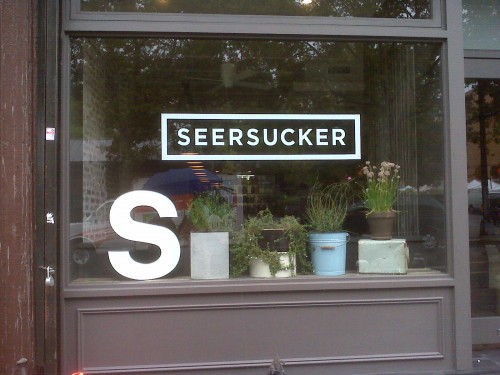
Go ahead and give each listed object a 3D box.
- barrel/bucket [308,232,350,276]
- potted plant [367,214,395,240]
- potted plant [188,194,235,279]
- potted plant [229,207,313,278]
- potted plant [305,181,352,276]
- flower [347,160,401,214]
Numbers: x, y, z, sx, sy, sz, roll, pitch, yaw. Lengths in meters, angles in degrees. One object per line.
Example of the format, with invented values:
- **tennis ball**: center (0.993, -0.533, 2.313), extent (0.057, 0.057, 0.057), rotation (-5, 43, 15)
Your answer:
- **barrel/bucket**: center (0.772, 0.644, 8.642), extent (0.423, 0.410, 0.422), rotation (-2, -3, 0)
- **potted plant**: center (1.302, 0.381, 8.673), extent (0.310, 0.292, 0.330), rotation (1, 1, 37)
- **potted plant**: center (-0.374, 0.362, 8.603), extent (0.483, 0.848, 0.471), rotation (-6, 29, -13)
- **potted plant**: center (0.270, 0.513, 8.646), extent (0.821, 0.706, 0.615), rotation (2, 7, 14)
- **potted plant**: center (0.762, 0.434, 8.618), extent (0.419, 0.846, 0.382), rotation (-1, 1, 20)
- **flower**: center (1.221, -0.017, 8.620), extent (0.461, 0.562, 0.451), rotation (1, -11, 1)
